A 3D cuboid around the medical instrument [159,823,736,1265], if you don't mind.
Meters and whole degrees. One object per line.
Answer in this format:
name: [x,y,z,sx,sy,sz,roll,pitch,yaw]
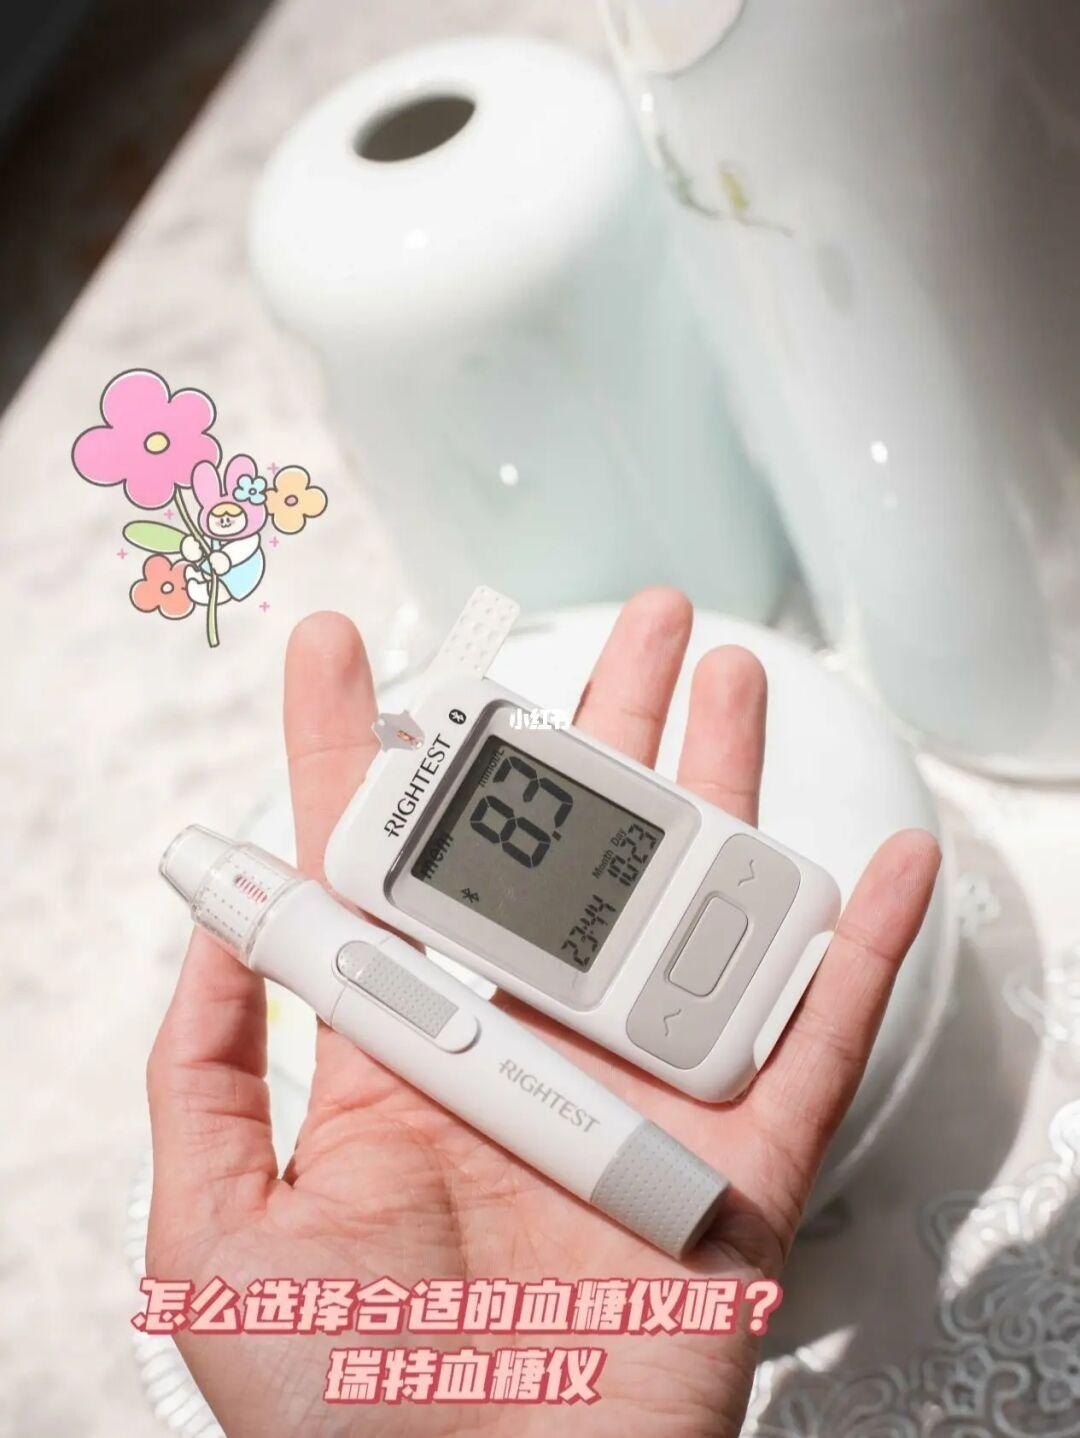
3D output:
medical instrument: [-0.056,0.218,0.870,0.419,0.071,0.080,32,78,8]
